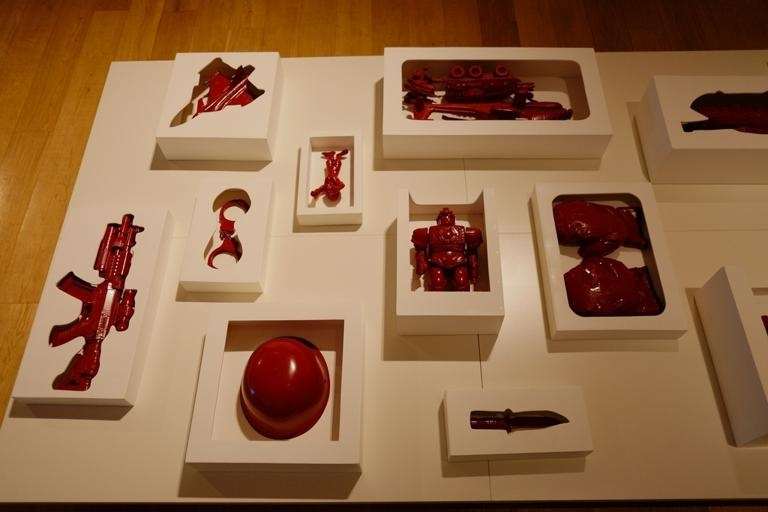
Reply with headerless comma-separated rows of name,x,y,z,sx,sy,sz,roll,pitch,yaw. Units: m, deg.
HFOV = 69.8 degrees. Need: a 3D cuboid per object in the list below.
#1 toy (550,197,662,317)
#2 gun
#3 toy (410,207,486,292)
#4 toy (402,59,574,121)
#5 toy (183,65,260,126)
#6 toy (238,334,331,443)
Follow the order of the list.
toy,1.014,0.001,2.525,0.420,0.188,0.531,-3,53,-1
gun,-1.260,0.209,2.461,0.296,0.259,0.744,16,71,-37
toy,0.291,-0.017,2.486,0.343,0.146,0.443,-1,52,4
toy,0.493,-0.804,2.821,0.709,0.383,0.281,1,94,1
toy,-0.825,-0.841,2.841,0.225,0.105,0.378,41,74,13
toy,-0.412,0.546,2.270,0.373,0.111,0.397,-7,74,0
